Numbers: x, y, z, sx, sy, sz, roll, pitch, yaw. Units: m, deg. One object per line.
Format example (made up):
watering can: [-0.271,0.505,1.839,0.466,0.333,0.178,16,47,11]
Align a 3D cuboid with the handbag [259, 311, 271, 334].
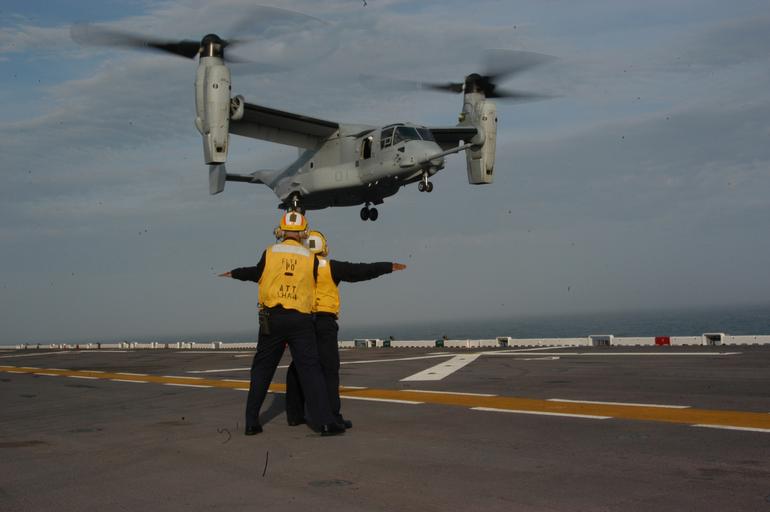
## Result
handbag: [-1.647,0.903,11.046,0.132,0.344,0.103,2,-3,-4]

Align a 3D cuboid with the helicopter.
helicopter: [-1.820,-3.960,25.420,14.337,5.980,12.492,-3,-5,44]

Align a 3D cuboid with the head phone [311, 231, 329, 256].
head phone: [-0.898,-0.165,10.679,0.320,0.332,0.353,0,17,2]

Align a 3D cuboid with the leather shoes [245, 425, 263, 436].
leather shoes: [-1.779,2.359,10.914,0.229,0.128,0.304,1,-2,-5]
